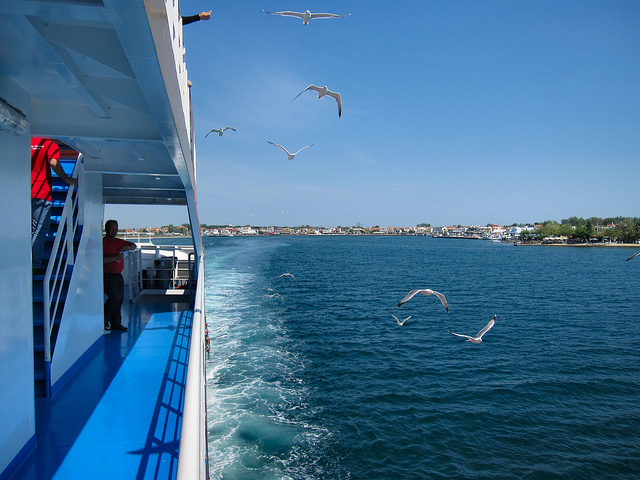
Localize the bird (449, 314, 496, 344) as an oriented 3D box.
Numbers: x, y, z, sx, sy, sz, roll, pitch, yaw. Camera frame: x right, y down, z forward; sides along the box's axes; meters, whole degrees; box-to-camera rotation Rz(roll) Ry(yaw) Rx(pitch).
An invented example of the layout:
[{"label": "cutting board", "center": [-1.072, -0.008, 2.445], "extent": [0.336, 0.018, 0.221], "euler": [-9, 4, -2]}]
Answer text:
[{"label": "bird", "center": [5.789, 3.370, 18.533], "extent": [0.592, 0.394, 1.544], "euler": [10, -14, 45]}]

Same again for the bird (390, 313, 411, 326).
[{"label": "bird", "center": [3.399, 3.317, 20.340], "extent": [0.586, 0.310, 0.450], "euler": [4, -41, 4]}]

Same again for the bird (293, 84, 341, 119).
[{"label": "bird", "center": [0.113, -4.125, 14.171], "extent": [0.720, 0.959, 1.594], "euler": [0, 4, -34]}]
